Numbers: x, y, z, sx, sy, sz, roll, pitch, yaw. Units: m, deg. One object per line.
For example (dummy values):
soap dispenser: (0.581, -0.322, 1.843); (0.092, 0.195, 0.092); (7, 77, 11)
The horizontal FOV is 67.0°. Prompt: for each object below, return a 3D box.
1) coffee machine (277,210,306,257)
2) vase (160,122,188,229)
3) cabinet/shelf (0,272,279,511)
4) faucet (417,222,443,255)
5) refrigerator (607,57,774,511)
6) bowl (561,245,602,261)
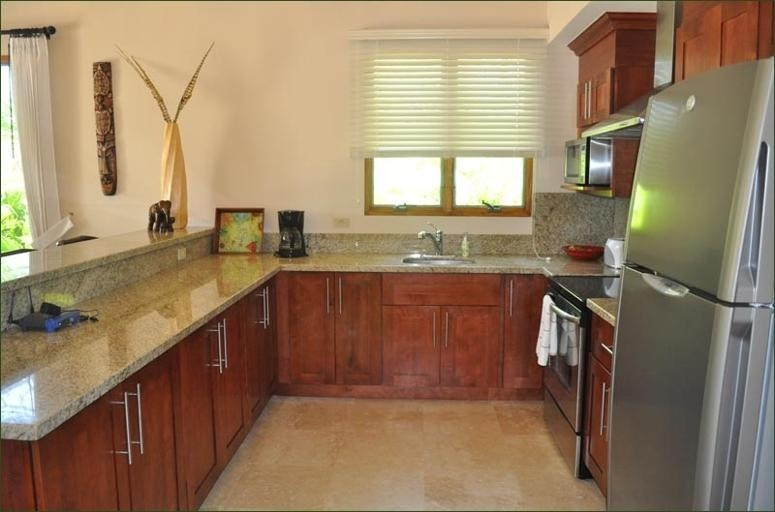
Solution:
coffee machine: (-0.790, -0.185, 4.710); (0.323, 0.421, 0.332); (0, -3, -5)
vase: (-1.760, -0.649, 4.752); (0.191, 0.861, 0.155); (-6, 10, -23)
cabinet/shelf: (-1.124, 0.901, 2.934); (0.279, 0.972, 1.573); (2, 10, 23)
faucet: (0.338, -0.125, 4.803); (0.223, 0.246, 0.268); (-1, 9, 4)
refrigerator: (1.238, 0.214, 2.372); (0.297, 1.901, 0.590); (-5, 10, -19)
bowl: (1.533, -0.021, 4.626); (0.306, 0.114, 0.195); (1, 10, 13)
